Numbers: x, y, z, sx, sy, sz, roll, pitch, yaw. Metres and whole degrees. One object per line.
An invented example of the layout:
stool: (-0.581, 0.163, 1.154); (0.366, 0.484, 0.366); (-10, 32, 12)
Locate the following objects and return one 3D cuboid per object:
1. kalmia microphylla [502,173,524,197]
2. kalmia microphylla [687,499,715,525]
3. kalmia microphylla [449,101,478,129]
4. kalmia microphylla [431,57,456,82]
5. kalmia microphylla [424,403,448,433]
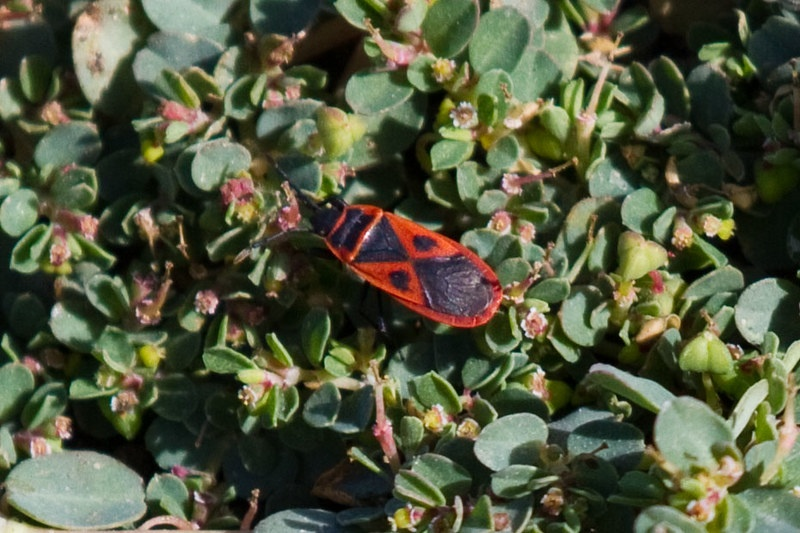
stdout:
kalmia microphylla: (0.299, -0.211, 2.326); (0.062, 0.041, 0.041); (26, 43, -6)
kalmia microphylla: (0.685, 0.550, 1.998); (0.065, 0.054, 0.034); (19, 44, -13)
kalmia microphylla: (0.170, -0.390, 2.329); (0.067, 0.027, 0.068); (-2, 76, 8)
kalmia microphylla: (0.117, -0.512, 2.333); (0.060, 0.061, 0.024); (-1, 9, -3)
kalmia microphylla: (0.093, 0.380, 2.222); (0.060, 0.065, 0.024); (28, -2, 7)
